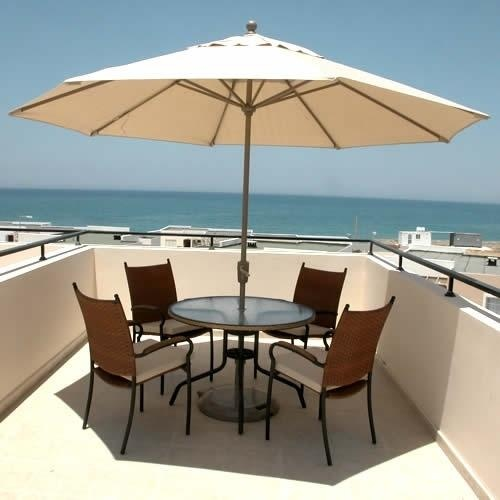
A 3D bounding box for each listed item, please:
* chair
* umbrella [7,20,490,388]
[{"bbox_3d":[-0.158,0.564,2.674,1.370,0.778,1.218,-1,8,-3],"label":"chair"},{"bbox_3d":[-0.042,-0.390,2.999,2.237,1.890,2.337,1,5,-20],"label":"umbrella"}]
